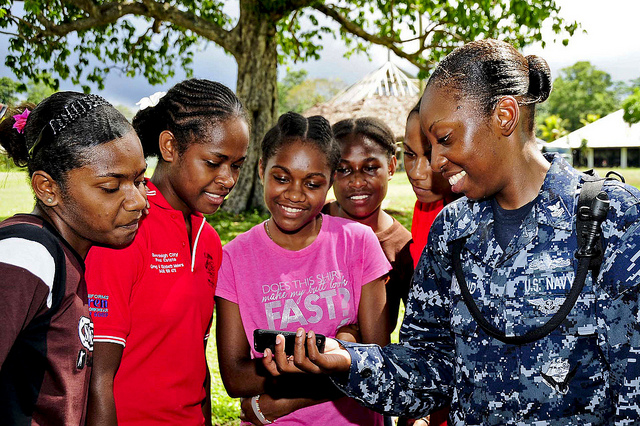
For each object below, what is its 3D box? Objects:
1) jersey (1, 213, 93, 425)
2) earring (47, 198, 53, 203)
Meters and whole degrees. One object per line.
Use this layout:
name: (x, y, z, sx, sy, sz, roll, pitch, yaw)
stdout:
jersey: (-1.645, 0.655, 4.294, 0.535, 1.311, 0.339, 0, -1, -21)
earring: (-1.679, -0.080, 4.402, 0.029, 0.027, 0.005, 0, -1, -20)
